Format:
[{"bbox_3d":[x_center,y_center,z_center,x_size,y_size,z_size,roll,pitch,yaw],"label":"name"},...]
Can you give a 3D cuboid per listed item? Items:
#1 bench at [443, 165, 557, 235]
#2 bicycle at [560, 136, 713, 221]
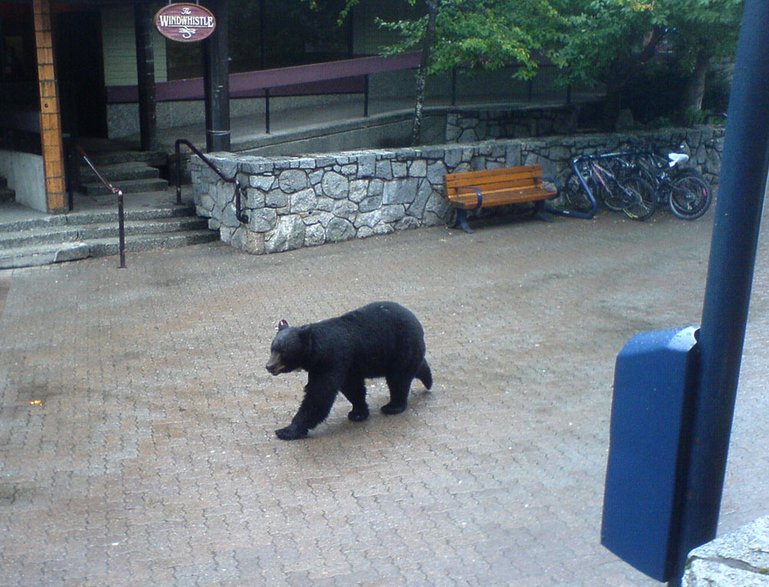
[{"bbox_3d":[2.059,-1.618,16.075,2.228,0.888,0.785,-11,23,-34],"label":"bench"},{"bbox_3d":[4.343,-1.945,16.599,2.613,1.373,1.290,13,24,37],"label":"bicycle"}]
